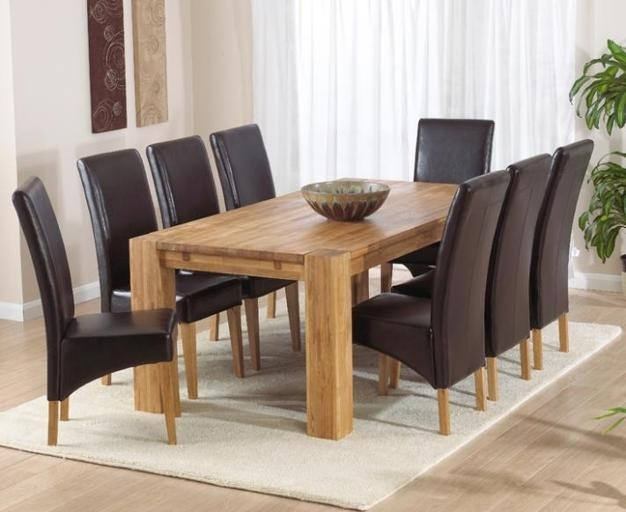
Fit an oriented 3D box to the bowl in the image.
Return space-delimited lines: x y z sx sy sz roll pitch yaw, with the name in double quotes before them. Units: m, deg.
"bowl" 0.175 -0.259 2.838 0.365 0.136 0.371 -3 12 1
